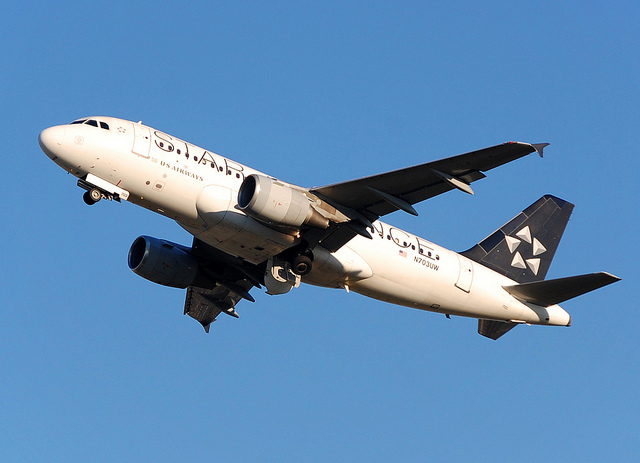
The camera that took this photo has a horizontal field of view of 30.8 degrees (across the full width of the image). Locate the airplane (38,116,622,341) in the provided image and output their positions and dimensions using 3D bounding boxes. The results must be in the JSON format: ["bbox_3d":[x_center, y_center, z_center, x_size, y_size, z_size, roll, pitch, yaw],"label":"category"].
[{"bbox_3d":[0.126,0.718,40.636,12.813,4.407,10.476,17,-43,-17],"label":"airplane"}]
